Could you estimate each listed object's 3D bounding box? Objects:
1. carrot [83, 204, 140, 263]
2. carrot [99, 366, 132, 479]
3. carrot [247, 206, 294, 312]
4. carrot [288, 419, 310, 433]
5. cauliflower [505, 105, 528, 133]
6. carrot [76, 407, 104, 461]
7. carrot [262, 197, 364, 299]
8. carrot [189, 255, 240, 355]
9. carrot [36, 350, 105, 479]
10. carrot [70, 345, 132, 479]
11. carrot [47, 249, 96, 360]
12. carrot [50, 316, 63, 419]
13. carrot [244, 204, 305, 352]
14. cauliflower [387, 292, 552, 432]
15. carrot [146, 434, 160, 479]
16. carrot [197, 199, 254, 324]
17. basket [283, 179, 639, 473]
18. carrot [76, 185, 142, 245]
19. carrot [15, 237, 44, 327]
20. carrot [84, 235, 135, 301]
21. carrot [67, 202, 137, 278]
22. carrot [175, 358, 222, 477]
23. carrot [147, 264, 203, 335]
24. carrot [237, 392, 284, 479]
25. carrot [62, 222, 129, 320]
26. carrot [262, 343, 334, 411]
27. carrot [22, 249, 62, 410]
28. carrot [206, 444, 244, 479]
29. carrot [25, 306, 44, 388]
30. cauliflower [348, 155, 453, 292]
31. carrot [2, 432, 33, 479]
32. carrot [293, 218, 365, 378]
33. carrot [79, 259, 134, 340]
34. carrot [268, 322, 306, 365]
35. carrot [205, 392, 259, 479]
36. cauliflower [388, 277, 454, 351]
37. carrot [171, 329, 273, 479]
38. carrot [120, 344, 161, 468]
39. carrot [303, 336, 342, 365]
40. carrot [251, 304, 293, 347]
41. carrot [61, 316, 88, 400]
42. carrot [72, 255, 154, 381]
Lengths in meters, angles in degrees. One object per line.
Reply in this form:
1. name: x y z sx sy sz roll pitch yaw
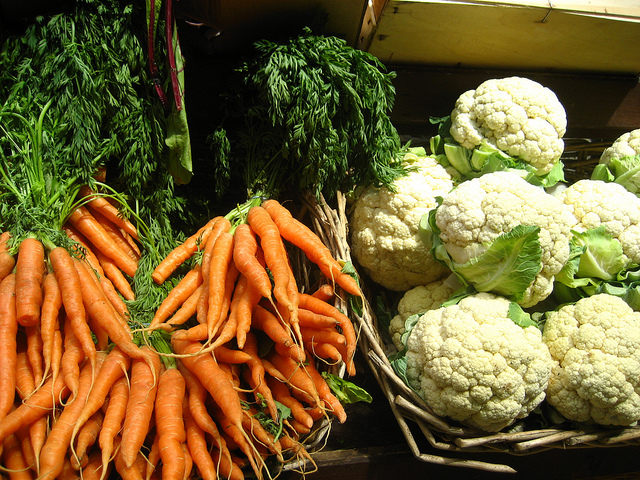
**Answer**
1. carrot: -0.883 -0.035 2.171 0.270 0.046 0.036 55 25 -3
2. carrot: -0.716 0.673 1.871 0.070 0.065 0.355 46 38 -38
3. carrot: -0.198 0.035 2.135 0.106 0.108 0.559 12 53 -42
4. carrot: -0.083 0.728 1.990 0.088 0.039 0.032 28 46 14
5. cauliflower: 0.842 -0.532 2.225 0.080 0.056 0.116 1 83 0
6. carrot: -0.820 0.717 1.882 0.045 0.049 0.181 17 65 -5
7. carrot: -0.034 0.044 2.158 0.530 0.096 0.099 47 29 20
8. carrot: -0.365 0.210 2.057 0.078 0.111 0.550 10 55 10
9. carrot: -0.850 0.606 1.889 0.084 0.097 0.525 28 47 -18
10. carrot: -0.783 0.604 1.851 0.097 0.113 0.447 7 53 19
11. carrot: -0.945 0.263 1.956 0.069 0.069 0.423 -2 74 -67
12. carrot: -0.960 0.478 1.918 0.038 0.046 0.431 -8 74 4
13. carrot: -0.192 0.066 2.113 0.119 0.153 0.757 -5 58 -21
14. cauliflower: 0.612 0.470 2.049 0.623 0.357 0.419 14 44 1
15. carrot: -0.608 0.807 1.887 0.029 0.032 0.199 11 80 -9
16. carrot: -0.403 0.112 2.050 0.100 0.100 0.638 -31 23 8
17. basket: 0.374 0.437 2.086 1.039 0.288 1.408 -15 70 -8
18. carrot: -0.886 -0.114 2.156 0.273 0.047 0.050 50 39 -5
19. carrot: -1.067 0.158 1.929 0.094 0.094 0.350 4 75 -29
20. carrot: -0.871 0.126 2.122 0.300 0.039 0.043 55 16 3
21. carrot: -0.903 0.014 2.197 0.476 0.106 0.107 32 66 35
22. carrot: -0.453 0.682 1.927 0.066 0.067 0.472 -20 81 -49
23. carrot: -0.571 0.249 2.042 0.057 0.063 0.309 29 57 5
24. carrot: -0.225 0.759 1.946 0.081 0.061 0.368 -35 82 -38
25. carrot: -0.904 0.136 2.062 0.060 0.058 0.429 -15 67 -49
26. carrot: 0.003 0.594 2.169 0.114 0.636 0.103 20 79 34
27. carrot: -1.009 0.301 1.879 0.110 0.075 0.452 -2 74 -14
28. carrot: -0.356 0.841 1.920 0.161 0.047 0.046 46 37 6
29. carrot: -1.056 0.410 1.936 0.063 0.060 0.385 18 57 -58
30. cauliflower: 0.380 0.048 2.473 0.497 0.509 0.553 23 67 -49
31. carrot: -1.059 0.768 1.827 0.061 0.064 0.247 -17 72 -8
32. carrot: 0.049 0.197 2.036 0.130 0.119 0.583 -4 58 -36
33. carrot: -0.841 0.247 2.026 0.391 0.045 0.046 50 20 15
34. carrot: -0.116 0.450 2.028 0.081 0.274 0.072 -36 42 -4
35. carrot: -0.327 0.749 1.928 0.066 0.062 0.384 -34 87 -32
36. cauliflower: 0.462 0.359 2.351 0.238 0.149 0.306 36 78 30
37. carrot: -0.383 0.644 1.944 0.123 0.124 0.624 -30 70 -15
38. carrot: -0.686 0.627 1.967 0.126 0.130 0.536 13 23 -19
39. carrot: -0.015 0.462 2.164 0.084 0.302 0.096 -13 89 -28
40. carrot: -0.202 0.336 2.091 0.086 0.317 0.082 -48 119 -4
41. carrot: -0.931 0.449 1.949 0.078 0.068 0.284 7 42 -31
42. carrot: -0.803 0.326 2.000 0.536 0.080 0.075 56 18 16
